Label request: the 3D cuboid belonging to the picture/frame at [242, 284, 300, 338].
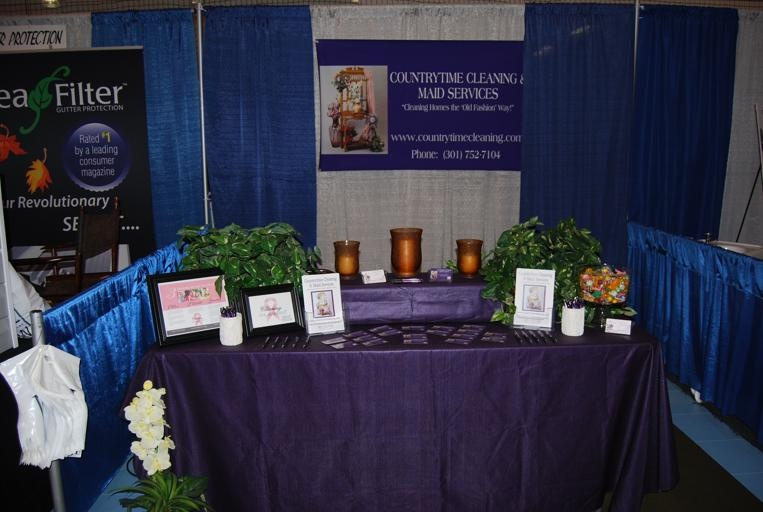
[{"bbox_3d":[-0.645,0.315,3.223,0.256,0.245,0.021,-7,-9,-24],"label":"picture/frame"}]
